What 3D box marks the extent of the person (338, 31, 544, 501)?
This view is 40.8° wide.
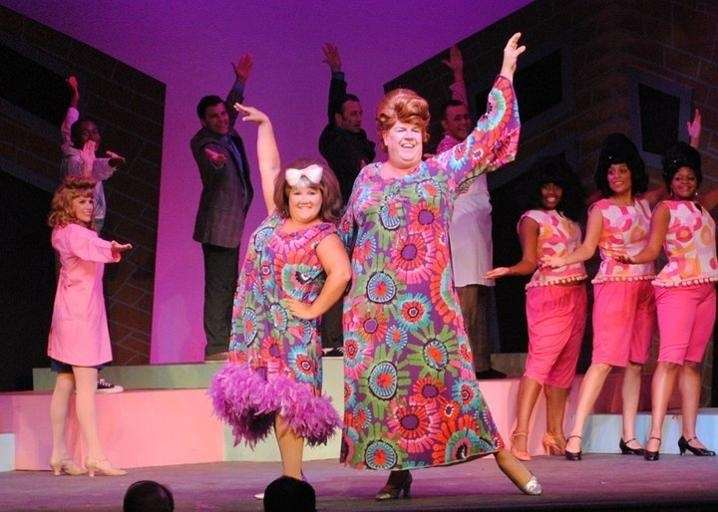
[{"bbox_3d":[0.382,0.017,5.375,0.995,2.382,0.520,0,-12,-3],"label":"person"}]

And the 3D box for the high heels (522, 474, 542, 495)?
[{"bbox_3d":[0.959,1.275,5.367,0.106,0.105,0.182,-3,-13,9],"label":"high heels"}]

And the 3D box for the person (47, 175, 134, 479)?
[{"bbox_3d":[-1.833,0.439,6.504,0.595,2.033,0.502,-1,-12,2],"label":"person"}]

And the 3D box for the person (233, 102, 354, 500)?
[{"bbox_3d":[-0.424,0.156,5.304,0.770,2.082,0.414,-2,-12,6],"label":"person"}]

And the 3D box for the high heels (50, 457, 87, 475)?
[{"bbox_3d":[-1.936,1.388,6.409,0.201,0.083,0.109,2,-1,-35],"label":"high heels"}]

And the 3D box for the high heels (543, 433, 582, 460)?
[{"bbox_3d":[1.480,1.331,6.785,0.363,0.146,0.114,1,1,-15],"label":"high heels"}]

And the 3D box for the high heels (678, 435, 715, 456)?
[{"bbox_3d":[2.249,1.285,6.535,0.293,0.156,0.098,1,-4,14],"label":"high heels"}]
